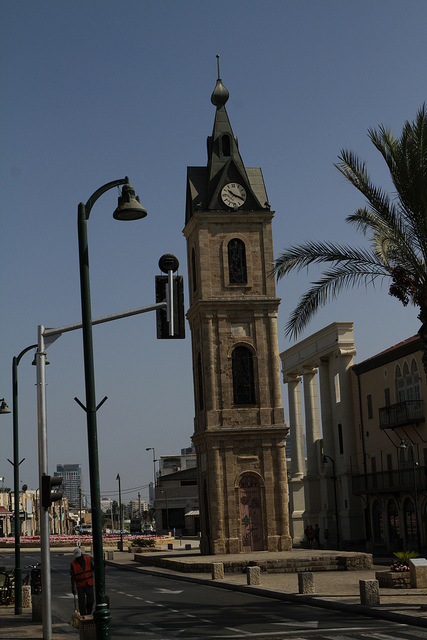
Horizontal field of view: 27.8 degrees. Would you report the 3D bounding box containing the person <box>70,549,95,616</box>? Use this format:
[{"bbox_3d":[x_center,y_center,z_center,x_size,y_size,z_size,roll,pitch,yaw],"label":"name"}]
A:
[{"bbox_3d":[-2.801,5.582,18.411,0.481,1.340,1.900,-4,-12,-10],"label":"person"}]

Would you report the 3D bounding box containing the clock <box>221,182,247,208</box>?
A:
[{"bbox_3d":[1.002,-6.525,45.515,1.237,1.373,0.141,3,-17,-11],"label":"clock"}]

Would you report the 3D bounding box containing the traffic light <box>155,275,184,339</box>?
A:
[{"bbox_3d":[-0.662,-0.222,13.198,0.405,0.918,0.282,-2,5,9],"label":"traffic light"}]
